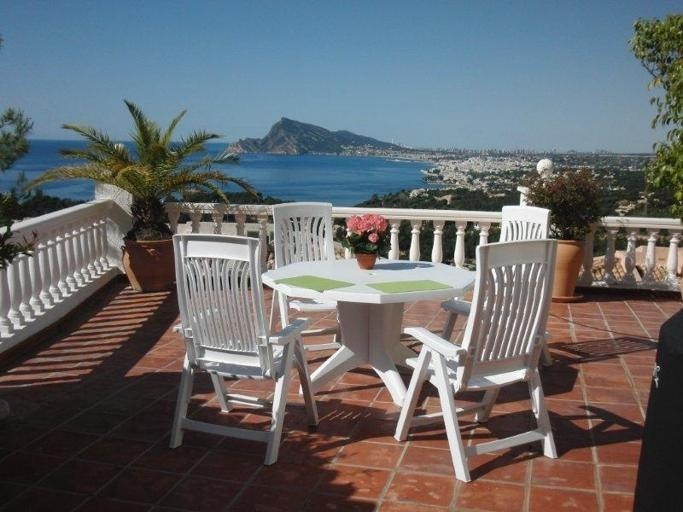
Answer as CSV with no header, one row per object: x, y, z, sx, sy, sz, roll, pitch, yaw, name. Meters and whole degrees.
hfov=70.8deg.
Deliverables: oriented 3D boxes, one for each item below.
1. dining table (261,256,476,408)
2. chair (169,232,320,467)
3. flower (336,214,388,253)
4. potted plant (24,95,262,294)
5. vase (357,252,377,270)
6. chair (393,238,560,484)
0.214,0.421,3.552,1.232,0.626,1.189,2,15,12,dining table
-0.626,0.497,2.934,0.789,1.317,0.493,4,12,17,chair
0.163,-0.149,3.778,0.330,0.213,0.318,4,16,-9,flower
-2.746,-0.913,6.862,2.347,2.592,1.337,-3,12,-13,potted plant
0.195,0.034,3.780,0.139,0.082,0.133,-1,3,-9,vase
0.820,0.538,2.849,0.849,1.322,0.594,-4,13,-21,chair
